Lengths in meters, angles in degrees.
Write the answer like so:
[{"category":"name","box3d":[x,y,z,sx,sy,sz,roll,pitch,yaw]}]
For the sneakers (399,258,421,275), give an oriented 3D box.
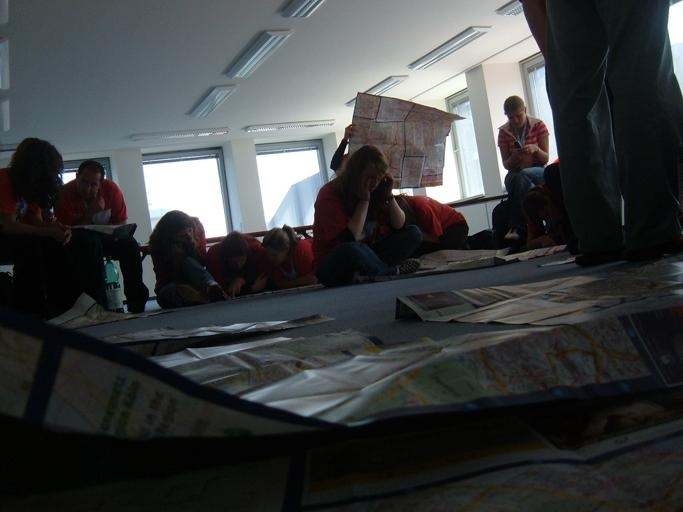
[{"category":"sneakers","box3d":[0.334,0.046,2.278,0.124,0.054,0.059,-23,24,23]}]
